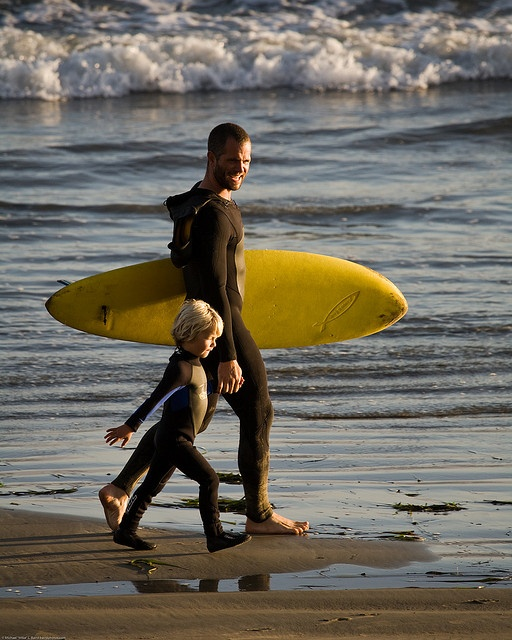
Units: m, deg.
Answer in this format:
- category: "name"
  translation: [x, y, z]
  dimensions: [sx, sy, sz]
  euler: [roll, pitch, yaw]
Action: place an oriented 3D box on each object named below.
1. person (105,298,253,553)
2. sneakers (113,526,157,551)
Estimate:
- category: "person"
  translation: [-0.383, 0.553, 7.128]
  dimensions: [0.748, 1.307, 0.256]
  euler: [2, 10, -5]
- category: "sneakers"
  translation: [-0.633, 1.144, 7.192]
  dimensions: [0.289, 0.104, 0.083]
  euler: [13, 10, -10]
